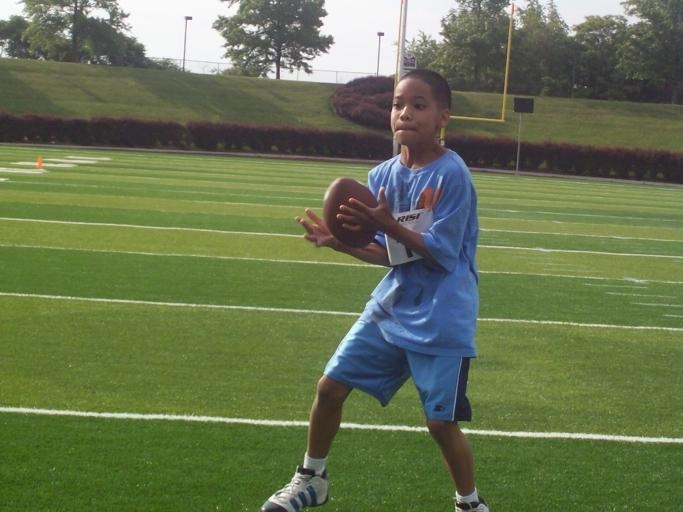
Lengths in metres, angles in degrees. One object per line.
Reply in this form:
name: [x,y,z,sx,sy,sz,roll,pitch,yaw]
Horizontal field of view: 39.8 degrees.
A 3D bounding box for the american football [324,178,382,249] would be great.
american football: [0.051,-0.321,6.941,0.318,0.468,0.396,-17,7,16]
